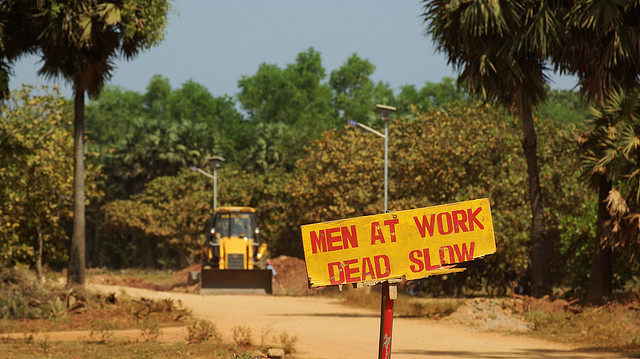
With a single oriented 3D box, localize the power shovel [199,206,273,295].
[{"bbox_3d":[-5.286,4.274,89.263,3.982,5.596,2.279,-1,-7,-2],"label":"power shovel"}]
